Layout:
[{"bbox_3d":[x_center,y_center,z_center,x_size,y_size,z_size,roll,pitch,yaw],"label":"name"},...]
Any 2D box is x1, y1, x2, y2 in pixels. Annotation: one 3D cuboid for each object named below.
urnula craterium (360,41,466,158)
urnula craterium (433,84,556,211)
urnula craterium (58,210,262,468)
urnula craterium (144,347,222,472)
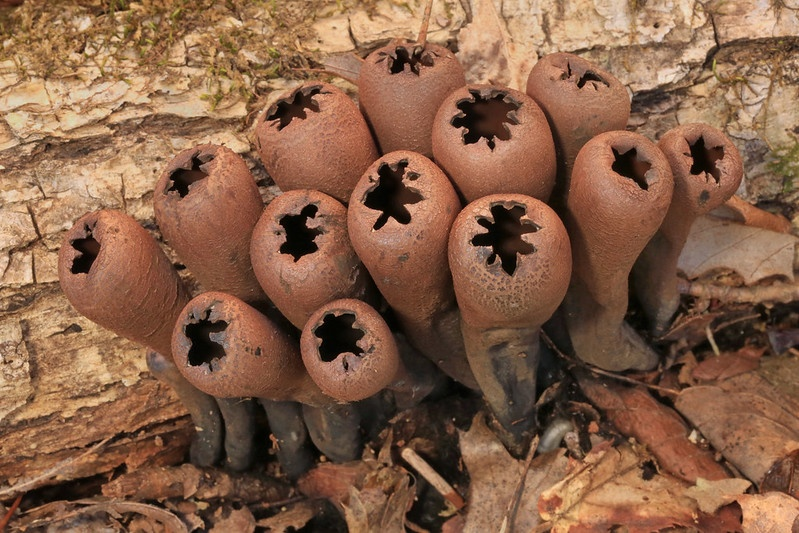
[{"bbox_3d":[0.059,-0.859,5.005,0.593,0.538,0.557,-11,35,0],"label":"urnula craterium"},{"bbox_3d":[0.499,-0.548,4.857,0.606,0.717,0.639,2,-12,23],"label":"urnula craterium"},{"bbox_3d":[-1.236,0.331,4.880,0.499,1.509,0.438,-3,52,13],"label":"urnula craterium"},{"bbox_3d":[-1.076,0.788,5.158,0.259,0.853,0.220,-18,45,2],"label":"urnula craterium"}]
